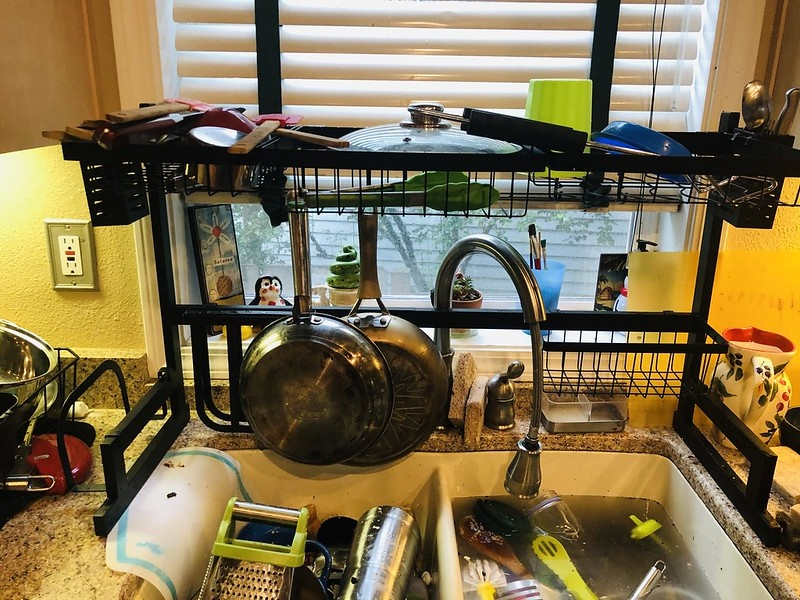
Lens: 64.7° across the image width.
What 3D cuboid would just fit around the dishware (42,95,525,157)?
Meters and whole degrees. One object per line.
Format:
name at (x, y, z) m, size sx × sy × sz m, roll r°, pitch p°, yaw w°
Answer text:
dishware at (-0.186, -0.328, 1.185) m, size 0.817 × 0.104 × 0.310 m, roll 1°, pitch 15°, yaw 5°

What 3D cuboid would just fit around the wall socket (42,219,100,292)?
wall socket at (-0.796, -0.116, 1.536) m, size 0.164 × 0.228 × 0.027 m, roll 1°, pitch 21°, yaw 1°

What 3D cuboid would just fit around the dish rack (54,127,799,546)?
dish rack at (0.055, 0.100, 1.354) m, size 0.911 × 0.615 × 0.337 m, roll 2°, pitch 31°, yaw 2°

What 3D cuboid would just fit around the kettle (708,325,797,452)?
kettle at (0.751, 0.185, 1.438) m, size 0.166 × 0.258 × 0.265 m, roll 1°, pitch 27°, yaw 10°

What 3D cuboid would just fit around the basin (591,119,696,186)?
basin at (0.447, -0.299, 1.184) m, size 0.163 × 0.039 × 0.158 m, roll 20°, pitch 14°, yaw -5°

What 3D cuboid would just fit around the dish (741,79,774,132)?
dish at (0.704, -0.382, 1.248) m, size 0.050 × 0.095 × 0.045 m, roll 9°, pitch 17°, yaw 30°

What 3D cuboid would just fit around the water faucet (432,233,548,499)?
water faucet at (0.205, 0.155, 1.327) m, size 0.153 × 0.601 × 0.309 m, roll -10°, pitch 18°, yaw -32°
